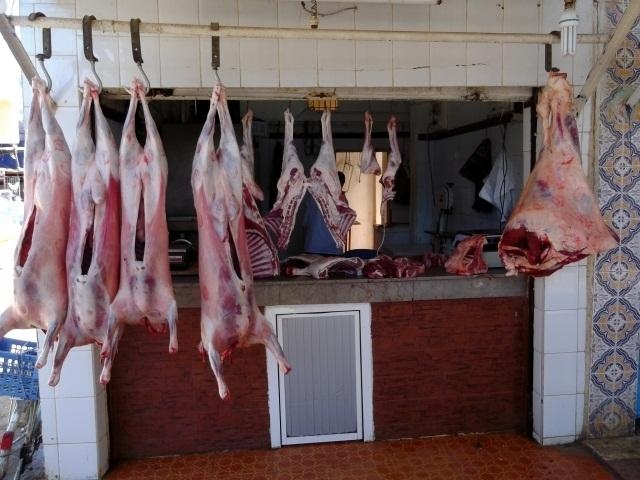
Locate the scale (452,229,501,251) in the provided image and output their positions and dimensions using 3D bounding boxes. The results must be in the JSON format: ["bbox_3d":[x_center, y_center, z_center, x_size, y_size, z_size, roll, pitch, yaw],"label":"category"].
[{"bbox_3d":[1.328,0.000,6.278,0.405,0.096,1.028,-3,2,14],"label":"scale"}]
